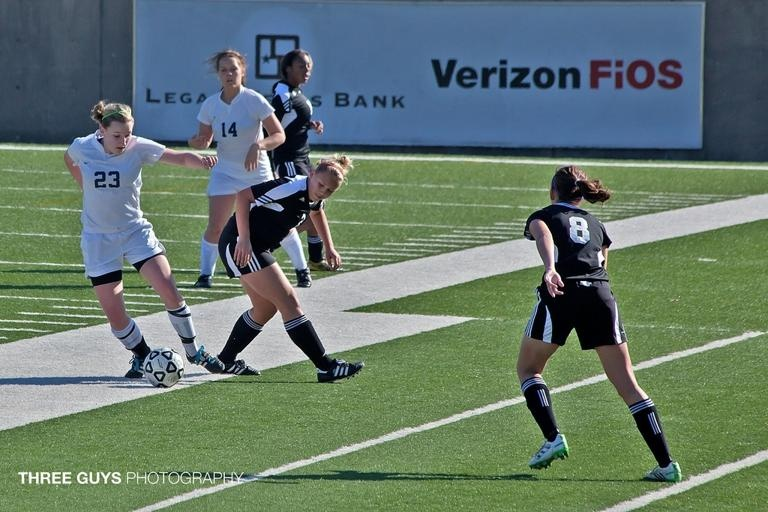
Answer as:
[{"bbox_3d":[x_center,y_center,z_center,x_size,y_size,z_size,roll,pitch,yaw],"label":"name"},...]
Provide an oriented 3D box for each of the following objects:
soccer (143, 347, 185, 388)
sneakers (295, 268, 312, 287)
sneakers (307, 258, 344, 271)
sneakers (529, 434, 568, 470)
[{"bbox_3d":[-2.402,1.221,14.440,0.487,0.442,0.437,-6,12,-5],"label":"soccer"},{"bbox_3d":[-1.107,0.291,18.015,0.248,0.242,0.625,-1,-5,-6],"label":"sneakers"},{"bbox_3d":[-0.781,0.107,18.726,0.652,0.233,0.200,-1,6,-1],"label":"sneakers"},{"bbox_3d":[1.610,1.923,12.778,0.399,0.214,0.129,-35,-34,6],"label":"sneakers"}]
